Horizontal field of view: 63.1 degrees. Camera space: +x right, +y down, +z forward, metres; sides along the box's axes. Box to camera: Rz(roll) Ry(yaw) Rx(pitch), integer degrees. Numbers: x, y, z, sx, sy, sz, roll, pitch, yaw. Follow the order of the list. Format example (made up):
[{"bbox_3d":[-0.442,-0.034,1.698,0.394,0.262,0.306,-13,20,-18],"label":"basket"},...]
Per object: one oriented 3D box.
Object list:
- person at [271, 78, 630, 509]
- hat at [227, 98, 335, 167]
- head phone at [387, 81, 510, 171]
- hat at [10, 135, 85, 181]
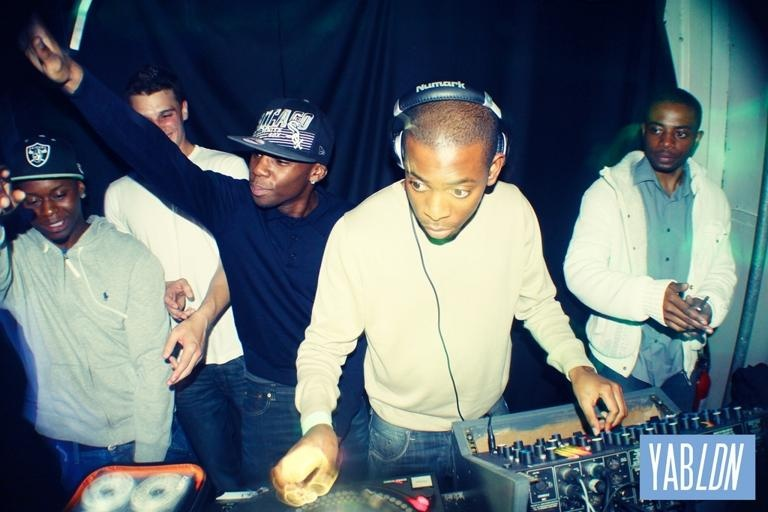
[{"bbox_3d":[0.191,0.158,2.753,1.392,1.732,0.637,-2,-4,-11],"label":"person"},{"bbox_3d":[-0.475,-0.617,3.059,0.322,0.236,0.442,28,16,38],"label":"hat"},{"bbox_3d":[0.247,-0.529,2.554,0.518,0.425,0.189,-5,-19,10],"label":"head phone"},{"bbox_3d":[-1.671,-0.507,3.125,0.213,0.153,0.275,-5,14,3],"label":"hat"}]
